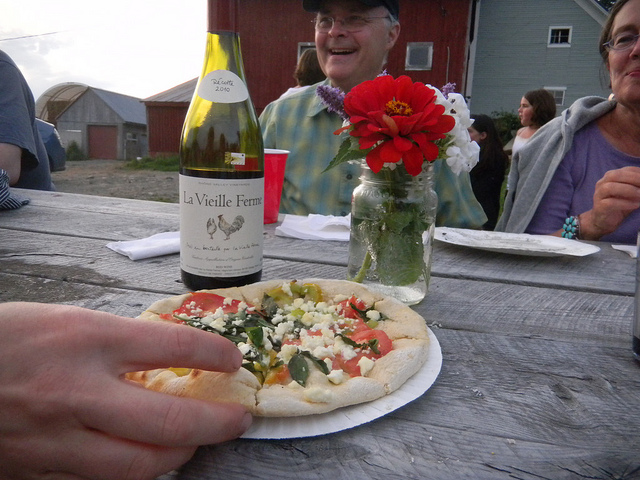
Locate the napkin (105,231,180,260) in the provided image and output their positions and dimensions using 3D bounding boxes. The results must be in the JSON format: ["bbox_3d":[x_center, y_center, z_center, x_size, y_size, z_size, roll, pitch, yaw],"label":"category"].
[{"bbox_3d":[-0.585,0.023,1.578,0.245,0.038,0.220,-10,19,-33],"label":"napkin"}]

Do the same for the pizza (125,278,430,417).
[{"bbox_3d":[-0.045,0.197,0.906,0.364,0.056,0.292,-1,15,-30],"label":"pizza"}]

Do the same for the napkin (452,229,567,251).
[{"bbox_3d":[0.730,0.005,1.803,0.331,0.034,0.319,-1,16,-6],"label":"napkin"}]
